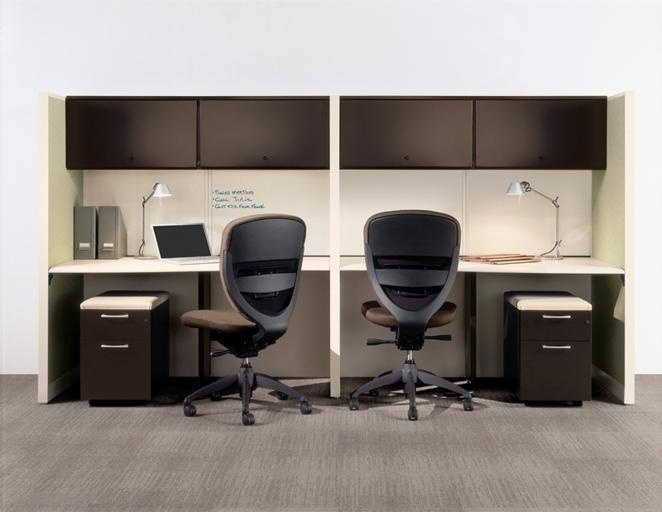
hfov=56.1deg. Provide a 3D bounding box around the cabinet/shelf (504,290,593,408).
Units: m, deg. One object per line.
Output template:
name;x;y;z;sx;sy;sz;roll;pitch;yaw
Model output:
cabinet/shelf;1.505;0.623;4.269;0.452;0.738;0.809;0;-2;5

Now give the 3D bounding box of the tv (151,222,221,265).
tv;-1.032;-0.107;4.611;0.439;0.283;0.488;2;5;41

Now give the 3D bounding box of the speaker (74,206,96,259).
speaker;-1.868;-0.179;4.673;0.115;0.337;0.368;-1;0;-10

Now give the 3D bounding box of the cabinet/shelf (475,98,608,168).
cabinet/shelf;1.531;-0.899;4.815;0.907;0.523;0.513;-1;5;1

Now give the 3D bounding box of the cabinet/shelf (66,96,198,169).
cabinet/shelf;-1.477;-0.920;4.607;0.938;0.529;0.503;-1;0;-2

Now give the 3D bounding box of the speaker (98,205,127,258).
speaker;-1.781;-0.277;4.935;0.171;0.445;0.463;0;19;-19

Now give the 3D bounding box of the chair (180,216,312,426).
chair;-0.590;0.393;4.288;0.796;1.368;0.793;-2;3;-36

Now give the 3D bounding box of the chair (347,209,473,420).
chair;0.617;0.370;4.449;0.789;1.451;0.904;2;6;14
